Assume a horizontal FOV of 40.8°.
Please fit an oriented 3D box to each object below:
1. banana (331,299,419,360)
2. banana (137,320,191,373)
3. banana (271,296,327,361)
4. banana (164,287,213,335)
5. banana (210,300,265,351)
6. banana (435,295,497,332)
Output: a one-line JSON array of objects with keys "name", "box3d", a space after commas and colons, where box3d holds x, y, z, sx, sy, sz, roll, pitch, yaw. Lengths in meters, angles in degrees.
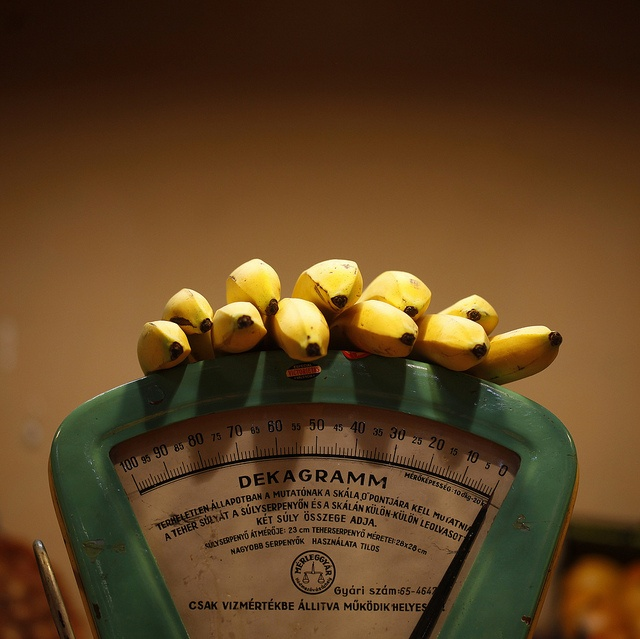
[{"name": "banana", "box3d": [0.075, 0.012, 1.210, 0.050, 0.077, 0.140, 7, -6, -40]}, {"name": "banana", "box3d": [-0.216, 0.037, 1.170, 0.061, 0.047, 0.076, -16, -2, -26]}, {"name": "banana", "box3d": [-0.023, 0.013, 1.160, 0.055, 0.054, 0.097, -12, 12, -10]}, {"name": "banana", "box3d": [-0.180, -0.012, 1.194, 0.049, 0.049, 0.074, 20, -3, -41]}, {"name": "banana", "box3d": [-0.113, 0.013, 1.171, 0.053, 0.049, 0.079, 25, -14, -6]}, {"name": "banana", "box3d": [0.236, -0.002, 1.337, 0.089, 0.058, 0.158, 0, -5, 0]}]
